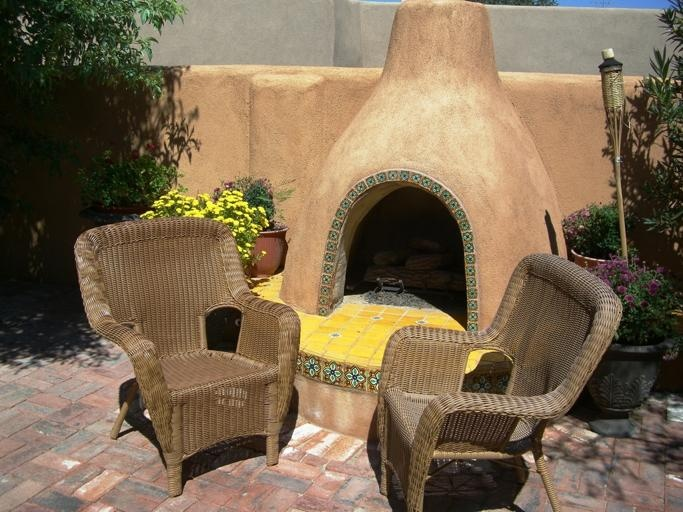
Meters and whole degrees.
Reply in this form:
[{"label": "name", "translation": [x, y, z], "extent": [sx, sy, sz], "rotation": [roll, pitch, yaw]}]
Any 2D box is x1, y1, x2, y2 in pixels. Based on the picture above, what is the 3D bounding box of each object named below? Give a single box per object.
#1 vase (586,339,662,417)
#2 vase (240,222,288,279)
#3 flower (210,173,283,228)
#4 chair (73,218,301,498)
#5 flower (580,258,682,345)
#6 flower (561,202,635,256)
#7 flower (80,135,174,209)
[{"label": "vase", "translation": [2.364, 1.028, 4.914], "extent": [0.688, 0.546, 0.628], "rotation": [-1, 2, -25]}, {"label": "vase", "translation": [-0.920, -0.051, 6.807], "extent": [0.660, 0.409, 0.604], "rotation": [0, 1, 1]}, {"label": "flower", "translation": [-1.210, -0.753, 7.014], "extent": [0.798, 0.457, 0.715], "rotation": [5, 18, -14]}, {"label": "chair", "translation": [-1.253, 0.681, 4.359], "extent": [1.408, 1.933, 1.137], "rotation": [1, 8, -31]}, {"label": "flower", "translation": [2.568, 0.387, 4.915], "extent": [0.982, 0.539, 0.742], "rotation": [2, -1, -9]}, {"label": "flower", "translation": [2.599, -0.226, 5.850], "extent": [0.698, 0.565, 0.336], "rotation": [-4, -4, 27]}, {"label": "flower", "translation": [-2.725, -1.072, 7.270], "extent": [1.187, 0.663, 1.046], "rotation": [1, 6, -3]}]
